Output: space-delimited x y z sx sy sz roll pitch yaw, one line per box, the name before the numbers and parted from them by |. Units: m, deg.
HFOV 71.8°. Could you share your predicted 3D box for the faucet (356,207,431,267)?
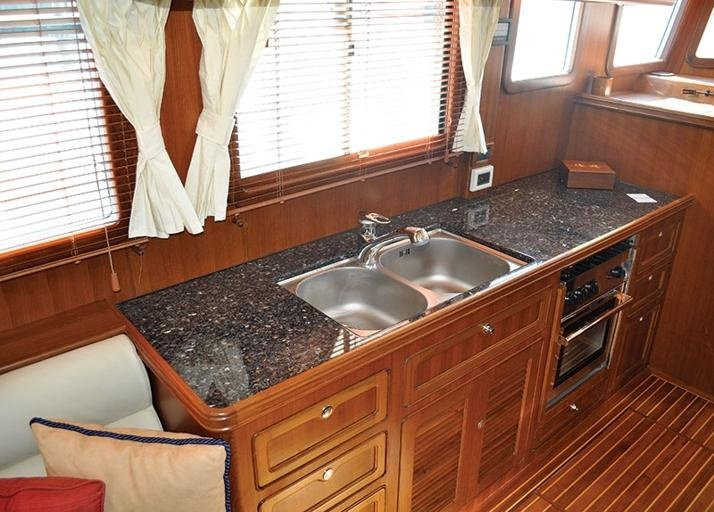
faucet | 0.156 -0.074 2.200 0.396 0.234 0.095 21 46 37
